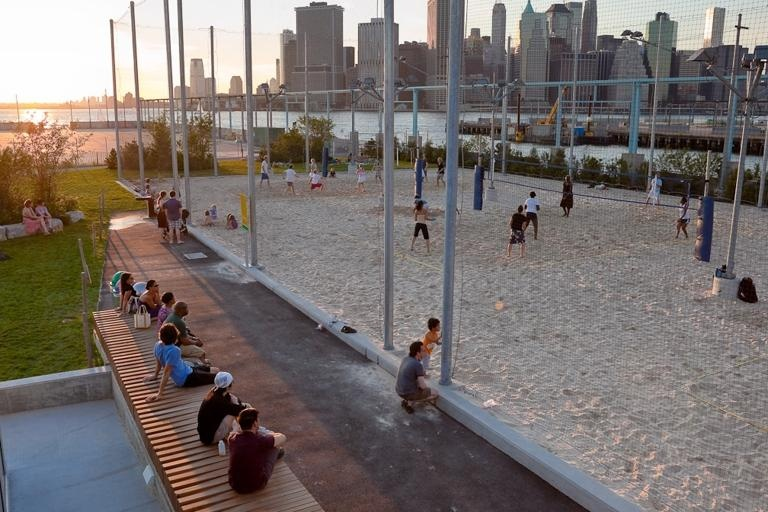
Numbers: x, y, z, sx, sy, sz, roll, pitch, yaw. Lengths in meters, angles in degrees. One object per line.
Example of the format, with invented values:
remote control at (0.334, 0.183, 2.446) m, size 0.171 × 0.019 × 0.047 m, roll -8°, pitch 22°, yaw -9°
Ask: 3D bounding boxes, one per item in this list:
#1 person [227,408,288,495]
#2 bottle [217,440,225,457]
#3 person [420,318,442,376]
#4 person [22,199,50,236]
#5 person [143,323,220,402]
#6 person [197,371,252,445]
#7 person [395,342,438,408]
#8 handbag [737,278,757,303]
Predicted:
person at (-2.034, 2.927, 9.200) m, size 0.825 × 1.255 × 1.219 m, roll 2°, pitch 6°, yaw 1°
bottle at (-2.650, 3.077, 9.360) m, size 0.125 × 0.224 × 0.224 m, roll -5°, pitch 13°, yaw -19°
person at (1.012, 1.951, 12.214) m, size 0.409 × 1.173 × 0.361 m, roll -5°, pitch 56°, yaw 0°
person at (-13.899, -1.576, 22.889) m, size 0.918 × 1.347 × 0.646 m, roll -9°, pitch 15°, yaw -32°
person at (-3.729, 1.872, 11.124) m, size 0.695 × 1.212 × 1.772 m, roll 18°, pitch 12°, yaw 40°
person at (-2.722, 2.646, 9.742) m, size 0.902 × 1.373 × 0.597 m, roll -4°, pitch 15°, yaw -41°
person at (0.611, 2.271, 11.017) m, size 0.750 × 1.281 × 0.376 m, roll -2°, pitch 12°, yaw -3°
handbag at (10.055, 0.944, 15.932) m, size 0.367 × 0.660 × 0.492 m, roll -5°, pitch 14°, yaw -15°
